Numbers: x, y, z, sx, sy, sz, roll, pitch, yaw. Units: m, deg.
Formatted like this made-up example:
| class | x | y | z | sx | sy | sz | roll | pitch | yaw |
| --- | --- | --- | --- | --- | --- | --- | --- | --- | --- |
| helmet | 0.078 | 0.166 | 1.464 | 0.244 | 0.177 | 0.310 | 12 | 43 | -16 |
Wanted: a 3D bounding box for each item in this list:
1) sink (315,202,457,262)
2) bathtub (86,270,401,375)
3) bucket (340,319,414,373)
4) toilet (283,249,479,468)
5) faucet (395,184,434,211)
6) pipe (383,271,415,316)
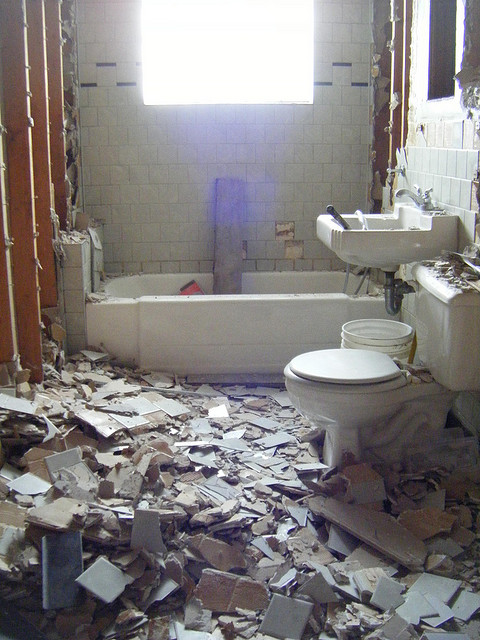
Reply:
| class | x | y | z | sx | sy | sz | roll | pitch | yaw |
| --- | --- | --- | --- | --- | --- | --- | --- | --- | --- |
| sink | 0.654 | -0.368 | 2.282 | 0.333 | 0.196 | 0.544 | -1 | 15 | 1 |
| bathtub | 0.020 | -0.022 | 3.504 | 1.860 | 0.524 | 0.882 | -3 | 14 | -1 |
| bucket | 0.582 | 0.076 | 2.222 | 0.304 | 0.218 | 0.265 | 2 | 15 | 4 |
| toilet | 0.518 | 0.067 | 2.161 | 0.842 | 0.977 | 0.582 | -1 | 19 | 4 |
| faucet | 0.828 | -0.575 | 2.416 | 0.197 | 0.119 | 0.108 | -9 | 23 | -31 |
| pipe | 0.751 | -0.131 | 2.438 | 0.154 | 0.225 | 0.064 | -2 | -2 | 32 |
